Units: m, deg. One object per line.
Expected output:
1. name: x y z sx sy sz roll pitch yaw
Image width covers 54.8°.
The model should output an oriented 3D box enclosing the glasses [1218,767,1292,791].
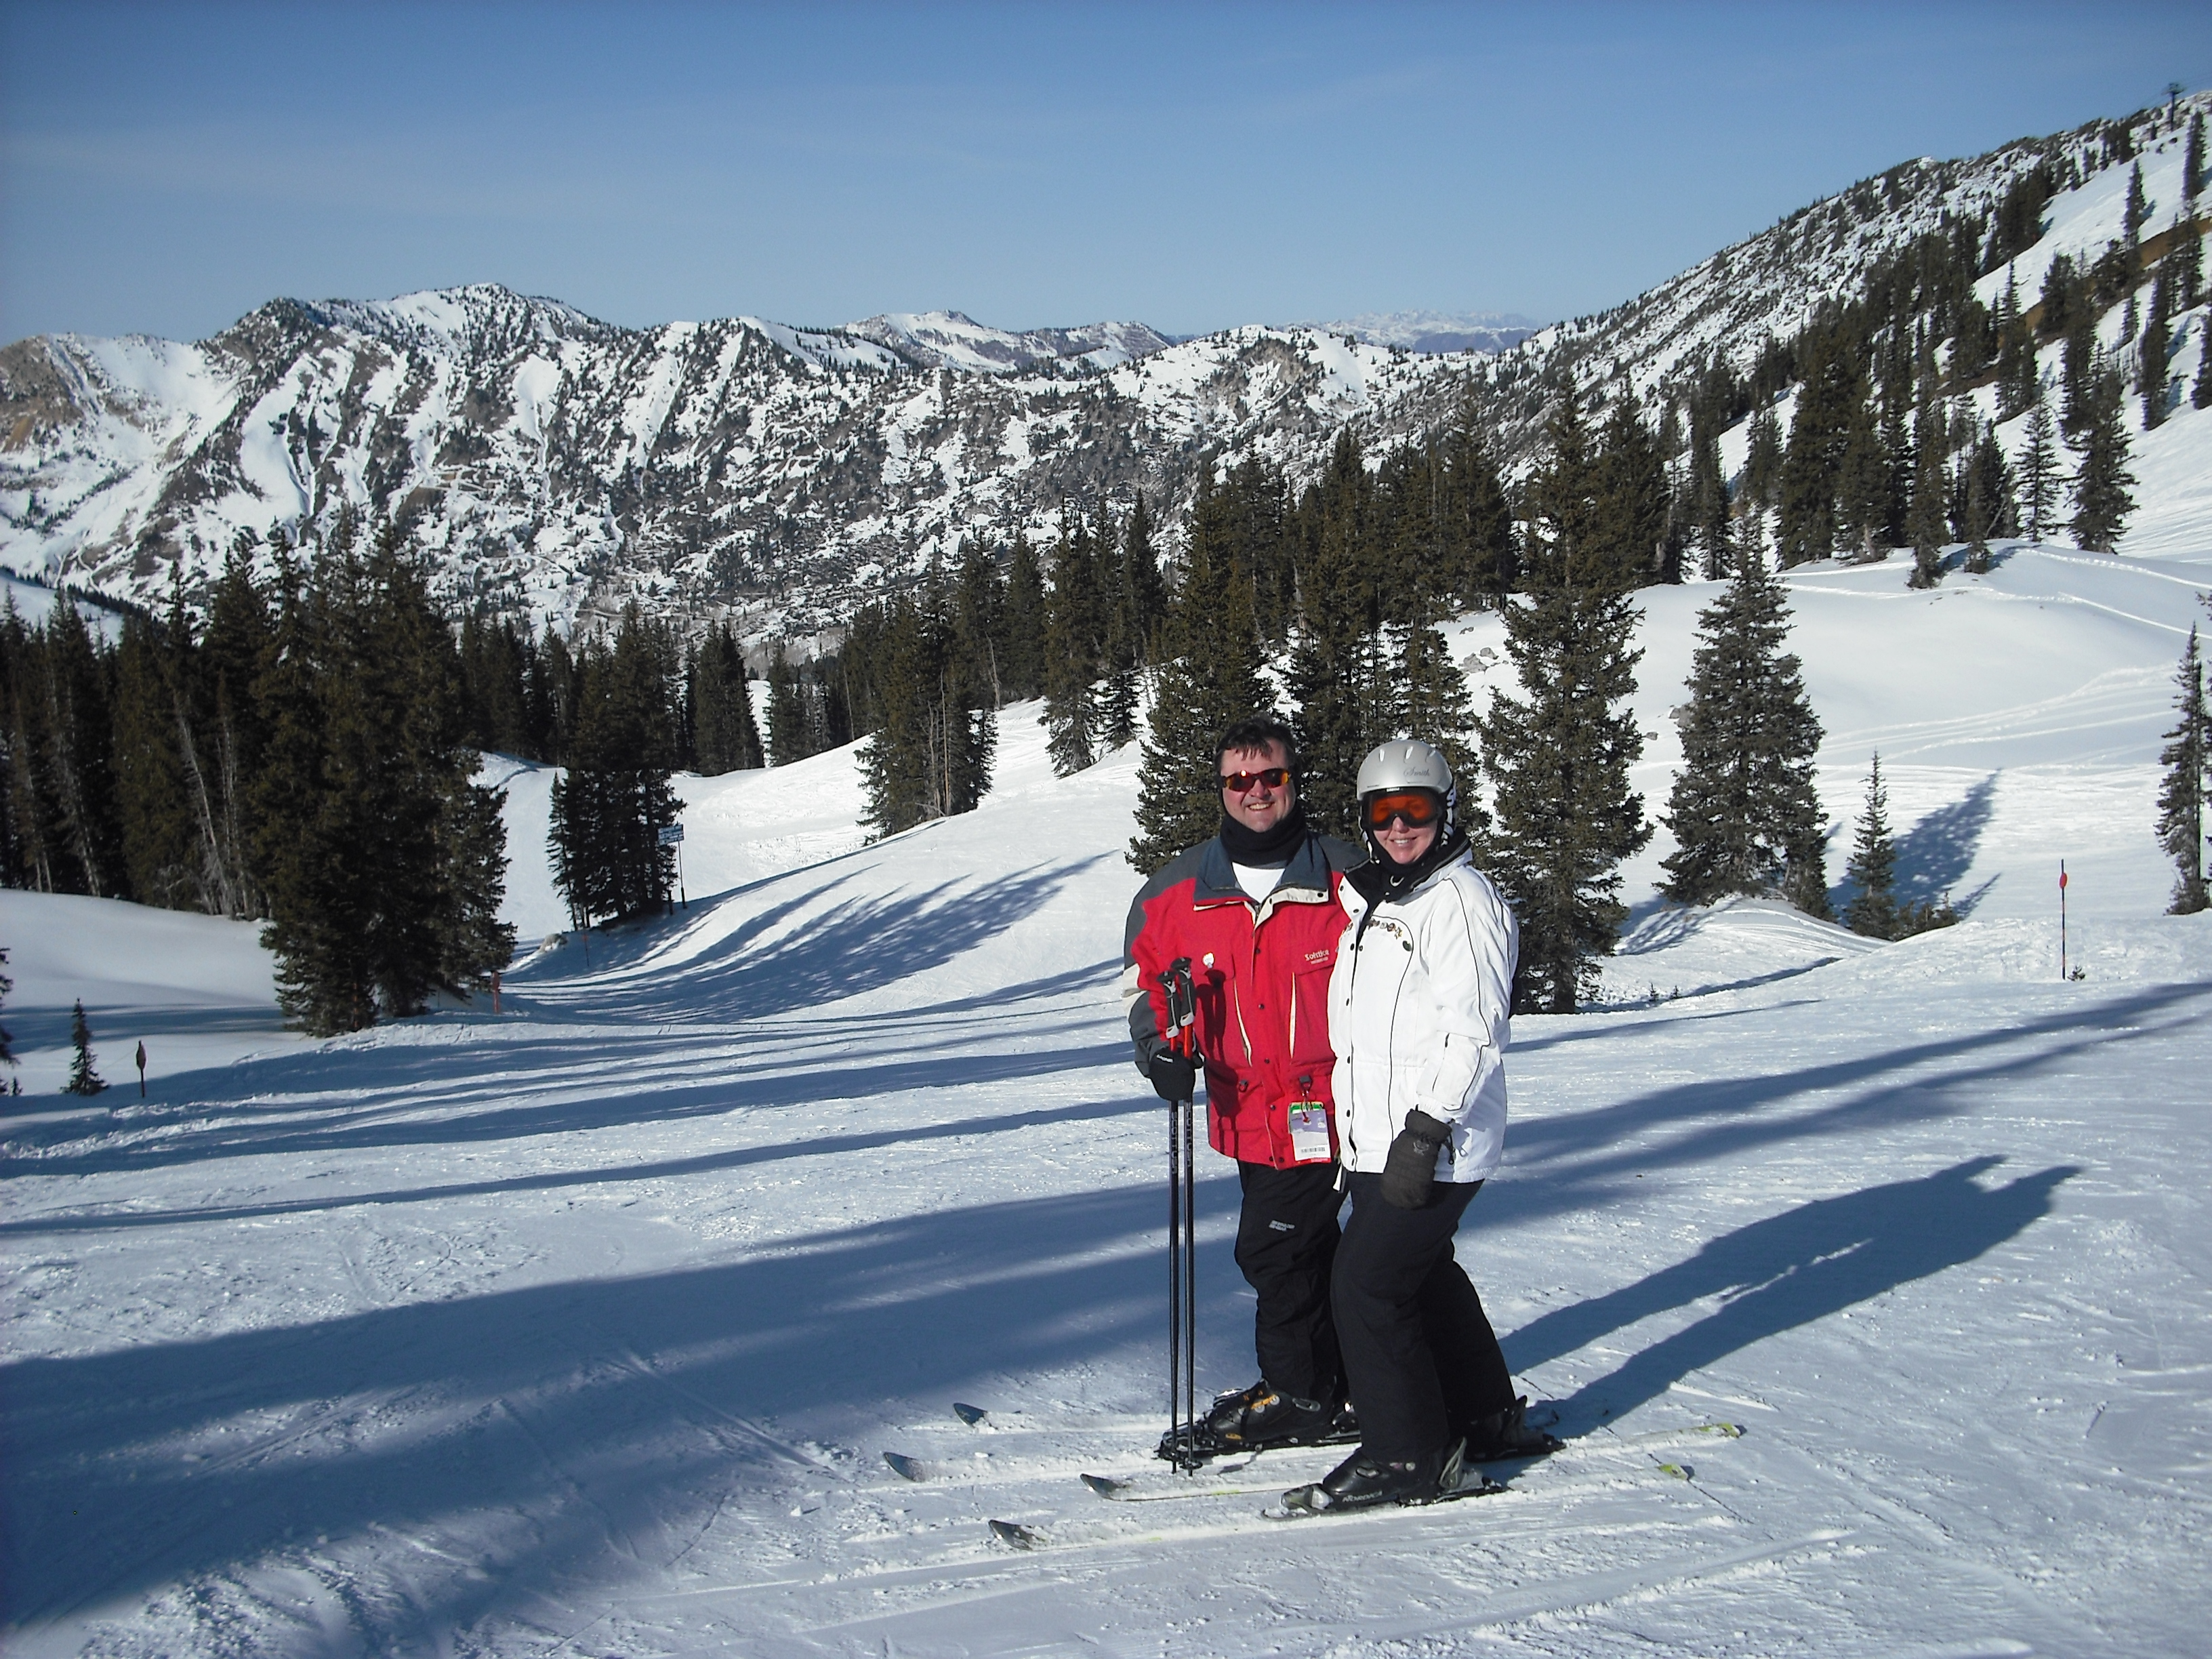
1. glasses: 0.972 -0.308 13.746 0.422 0.144 0.168 -3 4 3

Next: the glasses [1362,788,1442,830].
1. glasses: 1.877 -0.122 13.298 0.523 0.235 0.092 -3 4 7
